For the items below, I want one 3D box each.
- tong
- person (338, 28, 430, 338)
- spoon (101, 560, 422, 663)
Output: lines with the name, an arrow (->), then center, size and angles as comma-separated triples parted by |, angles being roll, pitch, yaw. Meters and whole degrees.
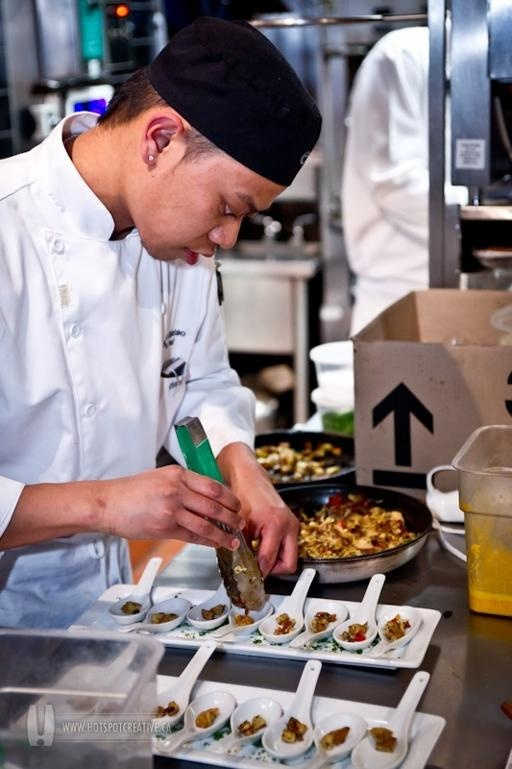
tong -> -0.045, 0.178, 0.932 | 0.086, 0.290, 0.122 | -6, 10, -1
person -> 0.482, -0.700, 2.588 | 0.207, 1.020, 0.689 | -10, 10, -18
spoon -> 0.035, 0.316, 0.936 | 0.273, 0.027, 0.117 | 1, 26, 23
